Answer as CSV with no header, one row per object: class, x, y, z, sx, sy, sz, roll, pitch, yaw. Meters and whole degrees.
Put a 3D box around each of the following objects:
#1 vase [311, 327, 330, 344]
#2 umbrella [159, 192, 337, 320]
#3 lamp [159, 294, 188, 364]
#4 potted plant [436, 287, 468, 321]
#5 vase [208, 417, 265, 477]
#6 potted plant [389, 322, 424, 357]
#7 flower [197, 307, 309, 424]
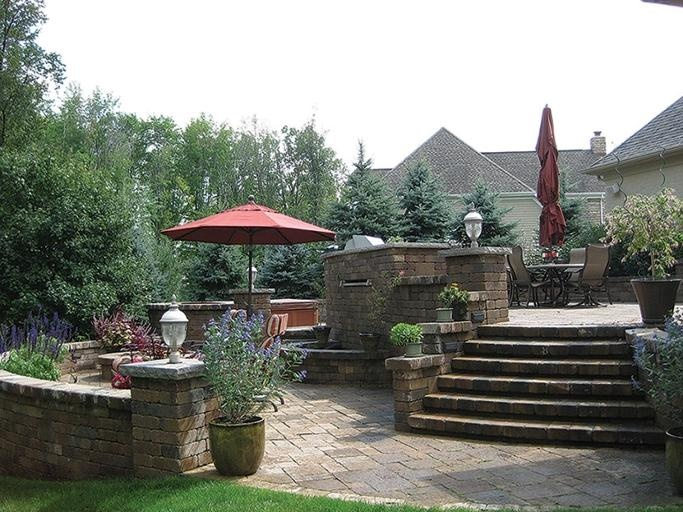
vase,-0.433,1.671,12.784,0.327,0.256,0.340,-3,-5,26
umbrella,-1.663,0.023,11.081,2.503,2.257,2.288,7,13,42
lamp,-1.976,0.859,7.101,0.362,0.765,0.333,0,-2,-31
potted plant,1.634,0.740,9.304,0.516,0.546,0.471,0,-7,-4
vase,-1.136,2.163,6.871,0.568,0.475,0.595,-6,-7,33
potted plant,0.940,1.213,8.757,0.478,0.475,0.485,0,-9,-4
flower,-1.125,1.347,7.348,1.141,1.313,1.219,2,-11,4
